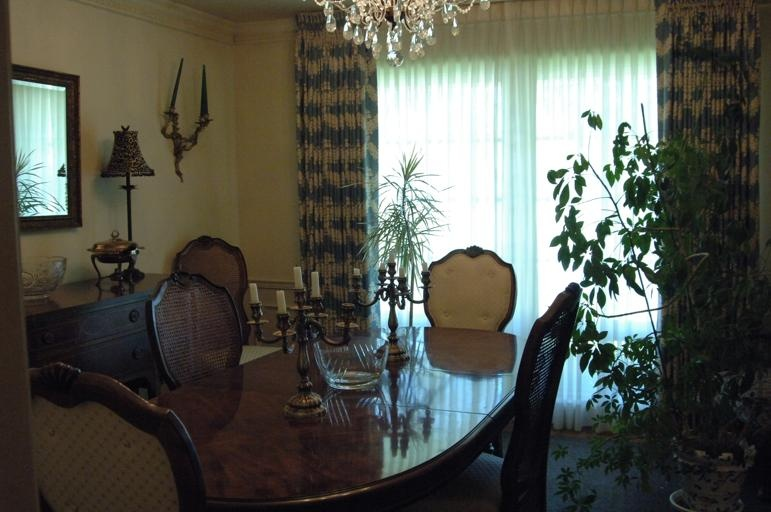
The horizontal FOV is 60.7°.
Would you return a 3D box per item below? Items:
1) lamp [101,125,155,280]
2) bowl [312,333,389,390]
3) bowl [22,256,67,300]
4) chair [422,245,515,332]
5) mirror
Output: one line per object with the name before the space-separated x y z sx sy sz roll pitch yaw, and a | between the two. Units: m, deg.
lamp | -1.832 -0.400 4.793 0.369 1.120 0.438 1 5 27
bowl | -0.173 0.525 3.335 0.388 0.254 0.389 -10 -8 -1
bowl | -2.046 0.127 3.921 0.248 0.201 0.242 -1 -1 0
chair | 0.624 0.208 4.729 0.610 0.997 0.549 0 -5 15
mirror | -2.270 -0.711 4.393 0.138 1.084 0.486 1 5 27
